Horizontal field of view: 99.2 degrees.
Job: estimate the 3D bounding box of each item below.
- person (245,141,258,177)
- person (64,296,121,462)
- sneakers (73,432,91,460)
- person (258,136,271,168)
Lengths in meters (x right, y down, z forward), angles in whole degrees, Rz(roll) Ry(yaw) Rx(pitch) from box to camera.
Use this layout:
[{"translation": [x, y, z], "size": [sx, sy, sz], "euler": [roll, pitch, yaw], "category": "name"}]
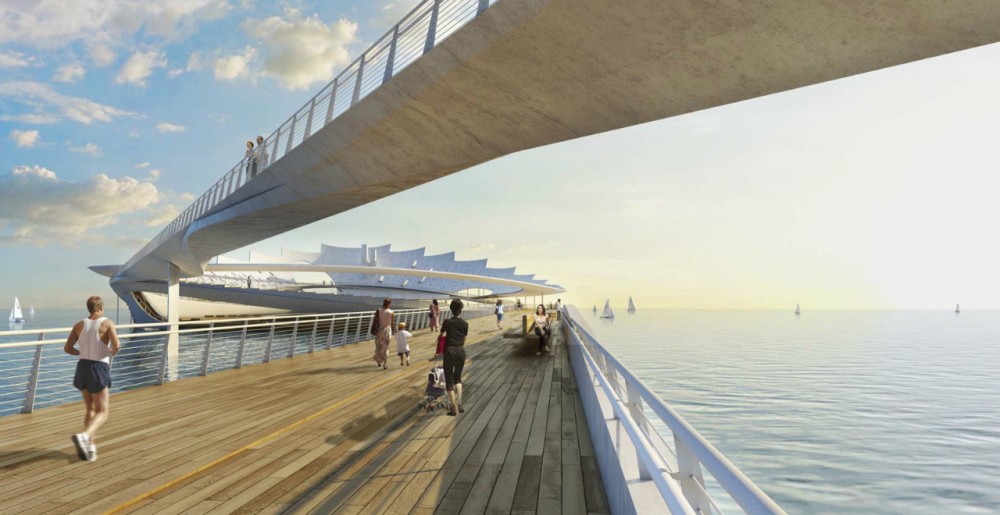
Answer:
[{"translation": [-11.276, -4.431, 19.305], "size": [0.467, 1.562, 1.397], "euler": [3, 2, -31], "category": "person"}, {"translation": [-8.102, 2.376, 8.425], "size": [0.741, 3.291, 1.461], "euler": [2, 3, -44], "category": "person"}, {"translation": [-7.997, 3.743, 8.162], "size": [0.325, 0.574, 0.201], "euler": [3, 2, -30], "category": "sneakers"}, {"translation": [-10.518, -4.701, 18.871], "size": [0.370, 1.439, 1.091], "euler": [3, 2, -37], "category": "person"}]
